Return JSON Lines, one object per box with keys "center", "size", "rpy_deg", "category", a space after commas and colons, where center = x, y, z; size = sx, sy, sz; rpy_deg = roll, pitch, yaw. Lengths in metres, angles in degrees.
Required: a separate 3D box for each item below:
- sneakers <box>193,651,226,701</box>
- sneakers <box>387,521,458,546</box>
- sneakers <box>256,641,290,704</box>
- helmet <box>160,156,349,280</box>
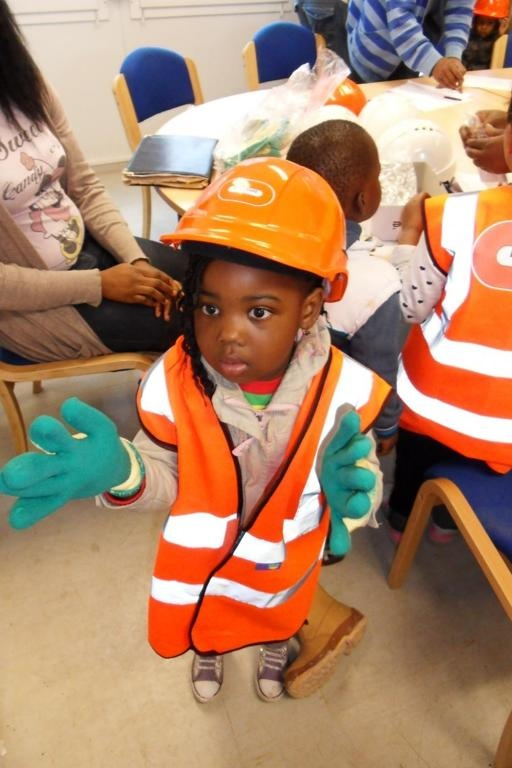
{"center": [-0.105, 0.625, 1.332], "size": [0.064, 0.062, 0.166], "rpy_deg": [1, 47, -7], "category": "sneakers"}
{"center": [0.418, 0.401, 1.592], "size": [0.192, 0.082, 0.062], "rpy_deg": [-6, 71, 7], "category": "sneakers"}
{"center": [0.036, 0.617, 1.290], "size": [0.052, 0.062, 0.146], "rpy_deg": [3, 39, 2], "category": "sneakers"}
{"center": [0.007, -0.172, 0.751], "size": [0.152, 0.100, 0.197], "rpy_deg": [30, 15, 22], "category": "helmet"}
